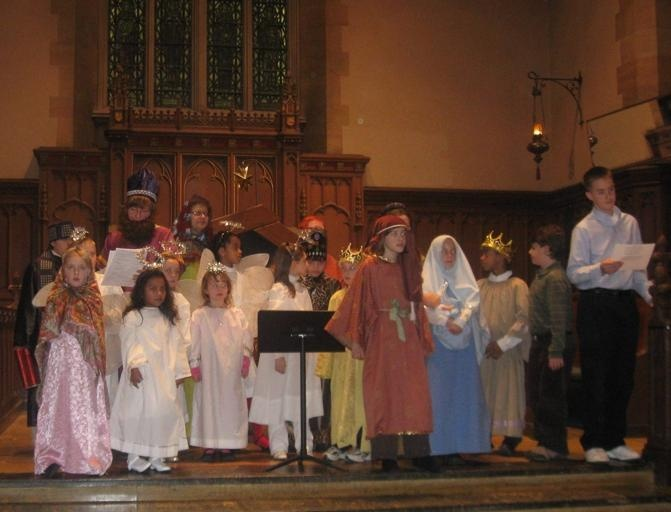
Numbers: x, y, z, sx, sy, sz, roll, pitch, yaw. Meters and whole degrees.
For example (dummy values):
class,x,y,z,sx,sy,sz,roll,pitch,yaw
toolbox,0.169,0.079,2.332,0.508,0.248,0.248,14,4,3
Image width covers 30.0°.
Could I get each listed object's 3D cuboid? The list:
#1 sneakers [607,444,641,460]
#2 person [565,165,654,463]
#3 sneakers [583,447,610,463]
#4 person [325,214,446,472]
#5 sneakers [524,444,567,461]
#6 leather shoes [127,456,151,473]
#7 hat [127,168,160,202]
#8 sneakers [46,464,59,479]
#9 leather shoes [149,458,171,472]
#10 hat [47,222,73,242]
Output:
class,x,y,z,sx,sy,sz,roll,pitch,yaw
sneakers,2.837,1.932,12.359,0.280,0.112,0.145,-5,-4,27
person,2.661,0.573,12.389,0.691,2.898,0.405,-3,-6,13
sneakers,2.571,1.960,12.334,0.233,0.145,0.125,-3,-7,9
person,0.479,0.784,12.216,0.902,2.339,0.216,-2,-6,2
sneakers,2.098,1.969,12.568,0.290,0.104,0.171,4,-8,-1
leather shoes,-1.910,2.004,12.095,0.215,0.120,0.093,7,-45,24
hat,-2.126,-0.771,13.697,0.327,0.346,0.361,7,-6,-42
sneakers,-2.707,2.046,11.975,0.114,0.129,0.222,-5,-8,22
leather shoes,-1.716,2.017,12.123,0.192,0.089,0.106,-4,-2,39
hat,-2.906,-0.255,13.173,0.236,0.161,0.185,-8,-8,30
